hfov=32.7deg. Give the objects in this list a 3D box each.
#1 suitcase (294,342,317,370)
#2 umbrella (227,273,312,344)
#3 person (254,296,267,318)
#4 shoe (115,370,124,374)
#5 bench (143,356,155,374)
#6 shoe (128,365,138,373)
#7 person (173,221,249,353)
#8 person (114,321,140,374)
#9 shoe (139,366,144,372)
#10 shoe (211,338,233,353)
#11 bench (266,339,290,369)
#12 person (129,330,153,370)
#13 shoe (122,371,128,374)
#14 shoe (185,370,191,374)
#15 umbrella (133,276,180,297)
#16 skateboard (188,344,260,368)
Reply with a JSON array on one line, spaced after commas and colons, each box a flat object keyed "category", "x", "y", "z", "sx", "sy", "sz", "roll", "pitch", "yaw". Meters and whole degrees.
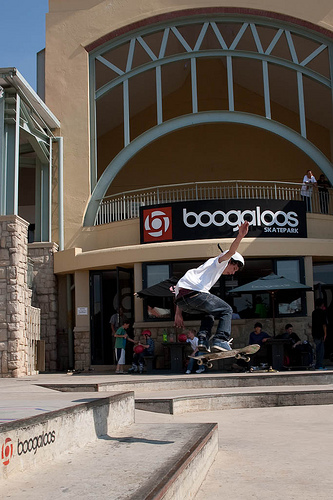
[{"category": "suitcase", "x": 3.636, "y": 2.798, "z": 14.879, "sx": 0.644, "sy": 0.849, "sz": 0.873, "roll": -5, "pitch": -7, "yaw": 28}, {"category": "umbrella", "x": 2.910, "y": 1.640, "z": 15.529, "sx": 2.087, "sy": 2.016, "sz": 2.104, "roll": -4, "pitch": 3, "yaw": -6}, {"category": "person", "x": 2.990, "y": 1.799, "z": 17.909, "sx": 0.380, "sy": 0.780, "sz": 1.791, "roll": 9, "pitch": -8, "yaw": 9}, {"category": "shoe", "x": -1.297, "y": 3.344, "z": 15.489, "sx": 0.242, "sy": 0.168, "sz": 0.084, "roll": 3, "pitch": -8, "yaw": 10}, {"category": "bench", "x": -0.550, "y": 3.202, "z": 15.795, "sx": 0.414, "sy": 0.578, "sz": 0.273, "roll": -1, "pitch": -17, "yaw": 8}, {"category": "shoe", "x": -0.923, "y": 3.274, "z": 15.525, "sx": 0.264, "sy": 0.271, "sz": 0.161, "roll": 1, "pitch": 0, "yaw": -6}, {"category": "person", "x": 0.529, "y": 0.445, "z": 6.788, "sx": 0.773, "sy": 1.508, "sz": 0.786, "roll": 5, "pitch": -8, "yaw": 7}, {"category": "person", "x": -1.200, "y": 2.710, "z": 15.808, "sx": 0.582, "sy": 1.442, "sz": 1.100, "roll": 11, "pitch": -8, "yaw": -4}, {"category": "shoe", "x": -0.689, "y": 3.265, "z": 15.502, "sx": 0.069, "sy": 0.156, "sz": 0.228, "roll": 8, "pitch": -9, "yaw": 17}, {"category": "shoe", "x": 0.635, "y": 1.115, "z": 6.535, "sx": 0.352, "sy": 0.149, "sz": 0.116, "roll": 6, "pitch": 6, "yaw": -39}, {"category": "bench", "x": 2.772, "y": 2.613, "z": 14.403, "sx": 0.673, "sy": 0.834, "sz": 0.716, "roll": 0, "pitch": -2, "yaw": 12}, {"category": "person", "x": -0.650, "y": 2.811, "z": 15.765, "sx": 0.486, "sy": 1.131, "sz": 1.136, "roll": 10, "pitch": -8, "yaw": 3}, {"category": "shoe", "x": -1.141, "y": 3.367, "z": 15.512, "sx": 0.118, "sy": 0.029, "sz": 0.115, "roll": 2, "pitch": -5, "yaw": -27}, {"category": "shoe", "x": 0.552, "y": 3.142, "z": 14.550, "sx": 0.151, "sy": 0.080, "sz": 0.241, "roll": 2, "pitch": 2, "yaw": 18}, {"category": "umbrella", "x": -0.171, "y": 1.023, "z": 15.197, "sx": 0.924, "sy": 0.414, "sz": 0.951, "roll": -1, "pitch": -5, "yaw": 18}, {"category": "skateboard", "x": 0.697, "y": 1.227, "z": 6.644, "sx": 1.105, "sy": 0.193, "sz": 0.300, "roll": -6, "pitch": -26, "yaw": -4}]
